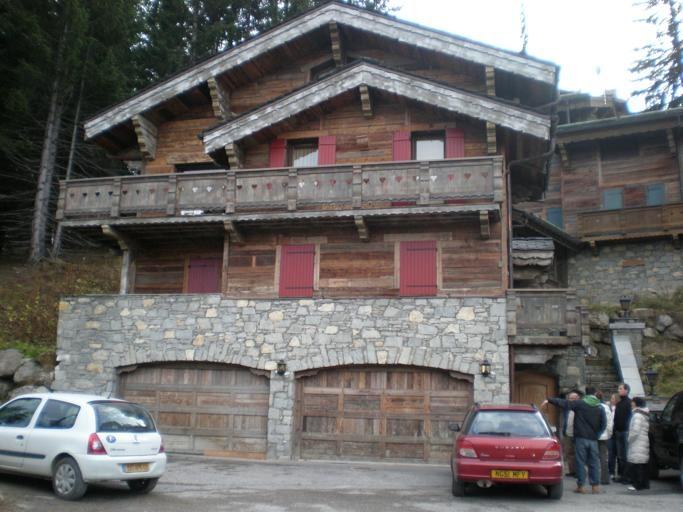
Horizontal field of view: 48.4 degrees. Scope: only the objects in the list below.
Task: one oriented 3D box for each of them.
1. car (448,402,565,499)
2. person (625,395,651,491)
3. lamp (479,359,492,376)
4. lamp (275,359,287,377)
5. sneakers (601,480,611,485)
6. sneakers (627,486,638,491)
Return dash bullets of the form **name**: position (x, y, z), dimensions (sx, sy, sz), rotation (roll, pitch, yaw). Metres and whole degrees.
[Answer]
- **car**: position (4.586, 5.013, 21.184), dimensions (2.809, 2.158, 4.837), rotation (-1, 1, 8)
- **person**: position (8.183, 5.141, 20.977), dimensions (0.594, 2.485, 1.089), rotation (-3, -13, 20)
- **lamp**: position (4.904, 3.834, 26.038), dimensions (0.480, 0.651, 0.492), rotation (-1, -3, 7)
- **lamp**: position (-2.126, 3.956, 27.000), dimensions (0.417, 0.610, 0.188), rotation (2, -12, 1)
- **sneakers**: position (7.461, 6.371, 21.462), dimensions (0.142, 0.096, 0.138), rotation (0, -3, 1)
- **sneakers**: position (7.940, 6.334, 20.758), dimensions (0.099, 0.112, 0.266), rotation (7, -5, -39)
